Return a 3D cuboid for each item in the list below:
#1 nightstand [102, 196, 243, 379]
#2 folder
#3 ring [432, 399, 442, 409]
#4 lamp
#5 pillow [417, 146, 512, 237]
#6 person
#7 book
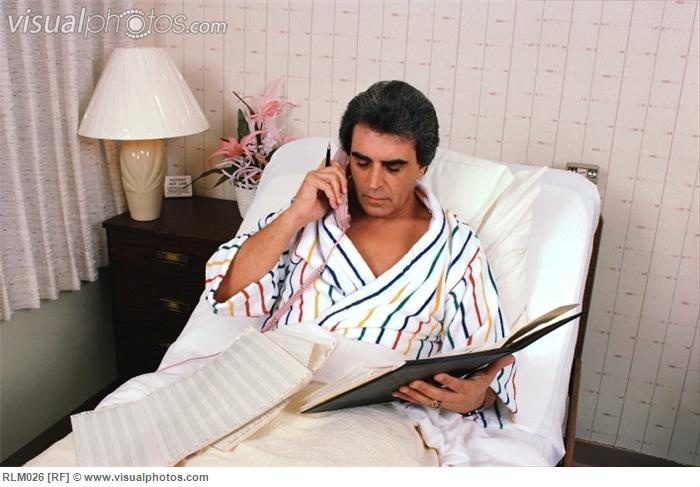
[{"bbox_3d":[-0.727,0.197,2.488,0.619,0.825,0.575,7,20,12],"label":"nightstand"},{"bbox_3d":[0.240,0.305,1.381,0.730,0.102,0.412,-15,-11,13],"label":"folder"},{"bbox_3d":[0.243,0.447,1.401,0.026,0.033,0.031,-1,-12,19],"label":"ring"},{"bbox_3d":[-0.955,-0.488,2.273,0.530,0.749,0.542,6,18,8],"label":"lamp"},{"bbox_3d":[0.436,-0.221,1.906,0.279,0.287,0.291,-7,27,-25],"label":"pillow"},{"bbox_3d":[0.064,0.054,1.578,1.020,0.928,0.569,12,24,17],"label":"person"},{"bbox_3d":[0.166,0.325,1.239,0.618,0.089,0.349,-16,-1,34],"label":"book"}]
